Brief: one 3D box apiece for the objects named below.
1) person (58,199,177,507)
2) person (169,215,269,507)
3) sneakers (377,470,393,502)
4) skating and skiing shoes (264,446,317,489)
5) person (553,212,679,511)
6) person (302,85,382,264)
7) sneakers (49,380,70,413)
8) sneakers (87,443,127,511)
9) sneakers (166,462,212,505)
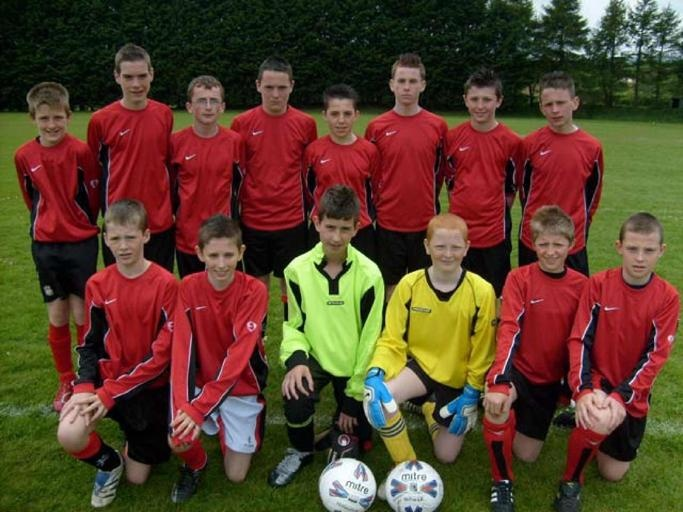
[{"bbox_3d":[-1.792,0.751,5.693,0.834,2.235,1.046,-1,14,2],"label":"person"},{"bbox_3d":[-1.015,0.788,5.734,0.827,2.089,0.869,-3,14,-8],"label":"person"},{"bbox_3d":[0.340,1.821,5.552,0.073,0.101,0.229,5,23,12],"label":"sneakers"},{"bbox_3d":[-0.431,1.725,5.759,0.159,0.209,0.435,10,18,37],"label":"skating and skiing shoes"},{"bbox_3d":[2.138,1.007,5.635,1.138,1.777,0.621,-12,17,-37],"label":"person"},{"bbox_3d":[0.004,-0.370,7.228,0.670,2.733,0.492,5,23,15],"label":"person"},{"bbox_3d":[-2.604,1.304,6.426,0.104,0.117,0.300,26,29,-26],"label":"sneakers"},{"bbox_3d":[-1.870,1.737,5.499,0.167,0.551,0.227,4,-8,-15],"label":"sneakers"},{"bbox_3d":[-1.253,1.840,5.656,0.120,0.147,0.372,20,47,7],"label":"sneakers"}]
